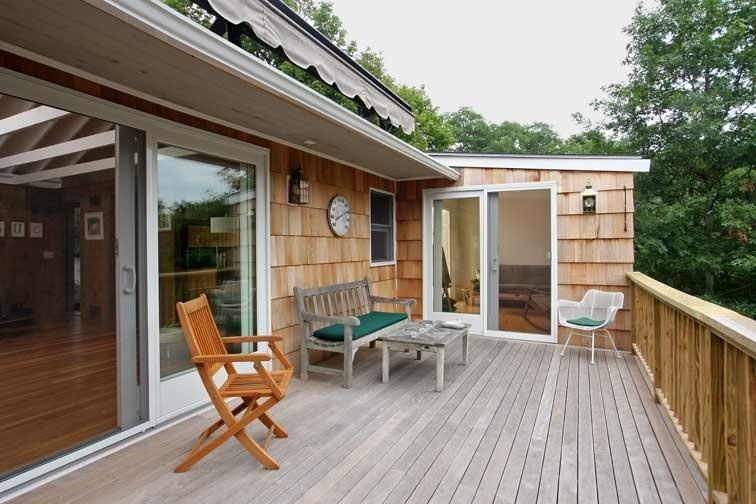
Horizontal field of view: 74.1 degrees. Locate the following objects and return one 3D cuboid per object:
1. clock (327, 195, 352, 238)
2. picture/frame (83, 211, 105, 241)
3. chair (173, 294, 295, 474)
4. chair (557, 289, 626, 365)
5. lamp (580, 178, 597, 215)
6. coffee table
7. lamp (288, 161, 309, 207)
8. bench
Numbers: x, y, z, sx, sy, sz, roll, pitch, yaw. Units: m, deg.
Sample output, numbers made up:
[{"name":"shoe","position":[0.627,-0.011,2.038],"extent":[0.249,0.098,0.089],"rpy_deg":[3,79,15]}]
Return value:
[{"name":"clock","position":[-0.562,-0.488,7.018],"extent":[0.068,0.511,0.511],"rpy_deg":[-6,-24,26]},{"name":"picture/frame","position":[-2.717,-0.244,4.803],"extent":[0.292,0.365,0.030],"rpy_deg":[0,-1,6]},{"name":"chair","position":[-1.282,1.205,4.727],"extent":[1.116,1.353,1.055],"rpy_deg":[2,0,-17]},{"name":"chair","position":[2.929,1.017,6.961],"extent":[0.764,0.923,0.785],"rpy_deg":[1,-1,42]},{"name":"lamp","position":[3.071,-0.812,7.278],"extent":[0.221,0.518,0.207],"rpy_deg":[0,34,24]},{"name":"coffee table","position":[0.594,1.268,6.251],"extent":[0.850,0.600,1.098],"rpy_deg":[-1,4,25]},{"name":"lamp","position":[-0.979,-0.842,6.314],"extent":[0.134,0.498,0.365],"rpy_deg":[-1,5,26]},{"name":"bench","position":[-0.201,1.018,6.817],"extent":[0.887,1.095,2.128],"rpy_deg":[2,2,21]}]
